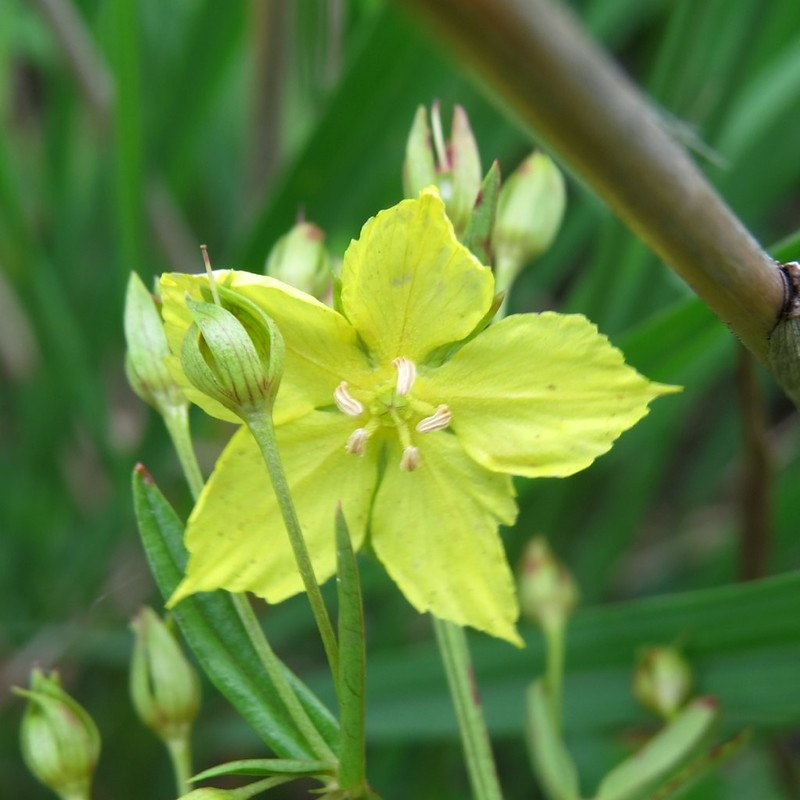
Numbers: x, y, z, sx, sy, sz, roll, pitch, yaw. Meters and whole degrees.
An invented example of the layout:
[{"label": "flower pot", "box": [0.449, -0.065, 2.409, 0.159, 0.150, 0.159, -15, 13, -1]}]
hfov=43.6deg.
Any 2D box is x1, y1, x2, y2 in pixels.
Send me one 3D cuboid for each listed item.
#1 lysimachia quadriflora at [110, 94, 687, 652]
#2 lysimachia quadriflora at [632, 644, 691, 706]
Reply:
[{"label": "lysimachia quadriflora", "box": [0.012, 0.007, 0.563, 0.328, 0.379, 0.151, 6, 20, 15]}, {"label": "lysimachia quadriflora", "box": [0.150, 0.162, 0.581, 0.024, 0.033, 0.024, 6, -39, -1]}]
